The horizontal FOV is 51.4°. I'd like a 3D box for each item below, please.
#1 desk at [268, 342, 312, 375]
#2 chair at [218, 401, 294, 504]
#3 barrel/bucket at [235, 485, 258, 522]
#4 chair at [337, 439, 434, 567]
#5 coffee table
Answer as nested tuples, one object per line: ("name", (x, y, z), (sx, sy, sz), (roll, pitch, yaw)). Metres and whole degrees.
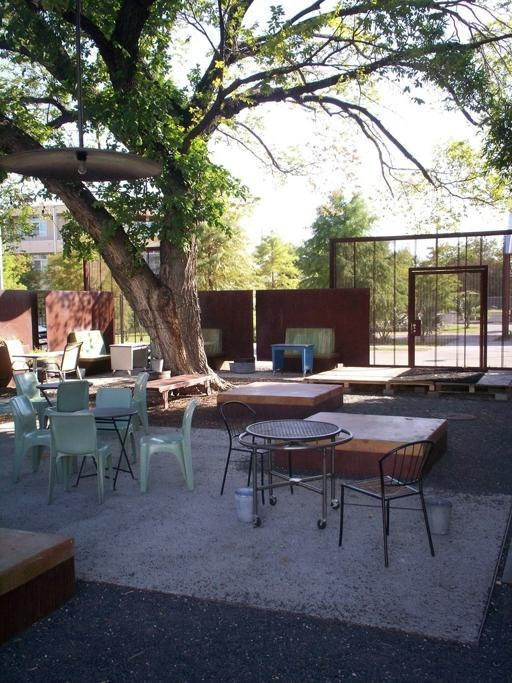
("desk", (0.878, 0.310, 12.604), (1.073, 0.859, 0.657), (2, 7, 23))
("chair", (-0.101, 1.040, 5.241), (0.538, 0.824, 0.536), (3, -4, -16))
("barrel/bucket", (-0.081, 1.163, 3.868), (0.179, 0.202, 0.188), (1, 4, 0))
("chair", (0.813, 0.965, 3.401), (0.484, 0.772, 0.558), (1, 0, -13))
("coffee table", (0.314, 0.924, 4.079), (0.695, 0.665, 0.738), (1, 3, 31))
